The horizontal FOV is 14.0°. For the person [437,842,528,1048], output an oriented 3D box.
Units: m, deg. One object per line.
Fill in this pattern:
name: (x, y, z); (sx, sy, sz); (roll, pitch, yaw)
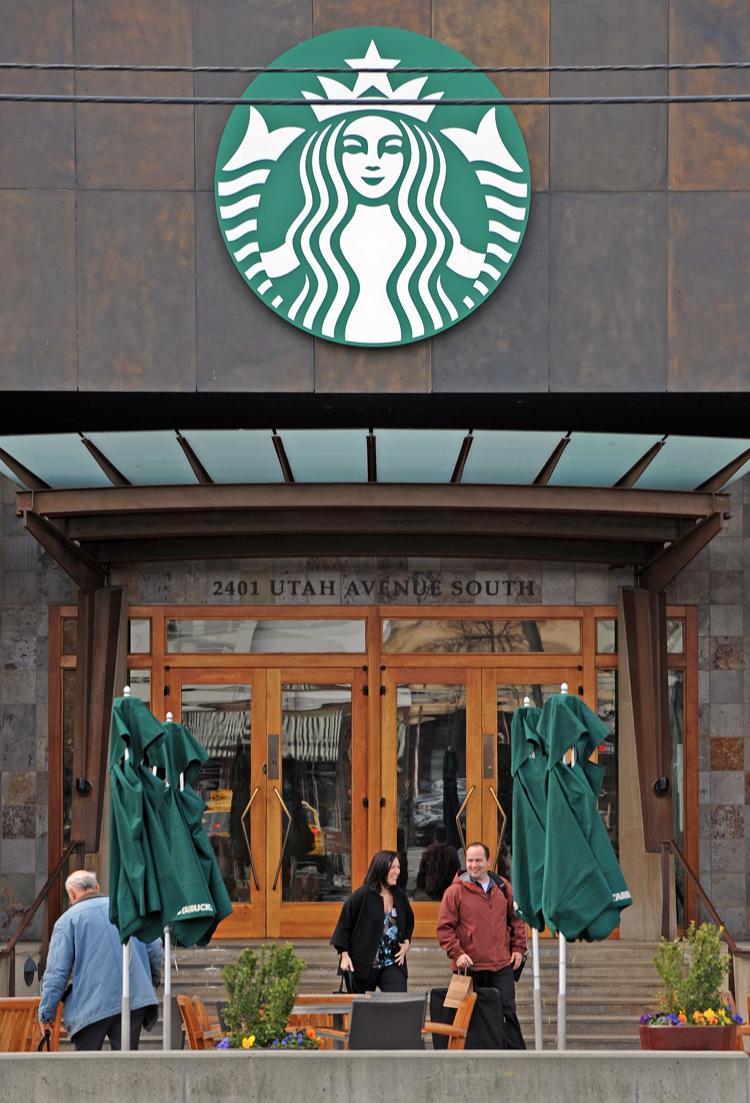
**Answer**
person: (0.869, 2.891, 22.687); (0.542, 1.629, 0.631); (3, -3, -14)

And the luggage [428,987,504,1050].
luggage: (0.682, 3.393, 22.209); (0.367, 0.561, 0.443); (-3, -11, 33)

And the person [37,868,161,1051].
person: (-1.964, 2.920, 21.740); (0.696, 1.529, 0.746); (1, -9, -8)

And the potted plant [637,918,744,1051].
potted plant: (2.247, 3.152, 21.637); (0.500, 1.297, 0.627); (4, -5, -9)

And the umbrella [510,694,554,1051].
umbrella: (1.123, 2.135, 22.023); (0.286, 2.107, 0.416); (3, -4, -7)
